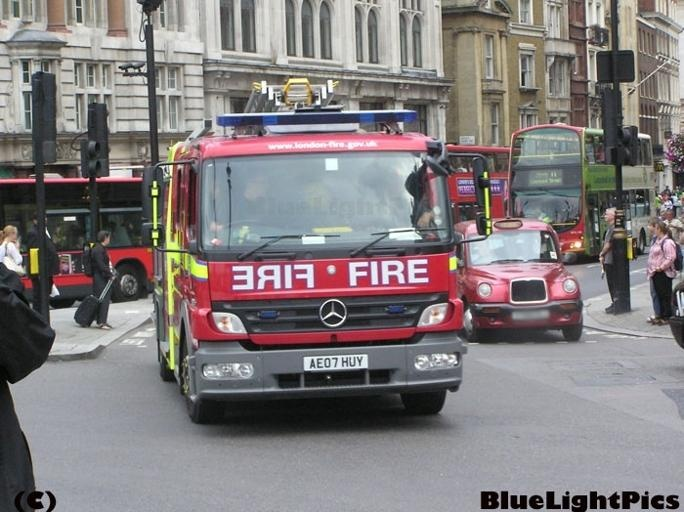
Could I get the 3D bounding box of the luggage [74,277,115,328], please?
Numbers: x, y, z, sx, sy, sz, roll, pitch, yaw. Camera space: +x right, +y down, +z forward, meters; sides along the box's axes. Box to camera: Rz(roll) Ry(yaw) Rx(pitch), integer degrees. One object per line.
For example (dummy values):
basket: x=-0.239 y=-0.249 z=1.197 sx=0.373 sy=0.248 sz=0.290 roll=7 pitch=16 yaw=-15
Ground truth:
luggage: x=-4.920 y=0.895 z=19.893 sx=0.651 sy=1.081 sz=0.711 roll=4 pitch=4 yaw=1

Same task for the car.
car: x=3.167 y=0.366 z=18.747 sx=1.632 sy=1.741 sz=3.347 roll=-1 pitch=-4 yaw=-2

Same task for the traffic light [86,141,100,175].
traffic light: x=-4.367 y=-1.727 z=17.577 sx=0.242 sy=0.615 sz=0.600 roll=-3 pitch=7 yaw=-14
